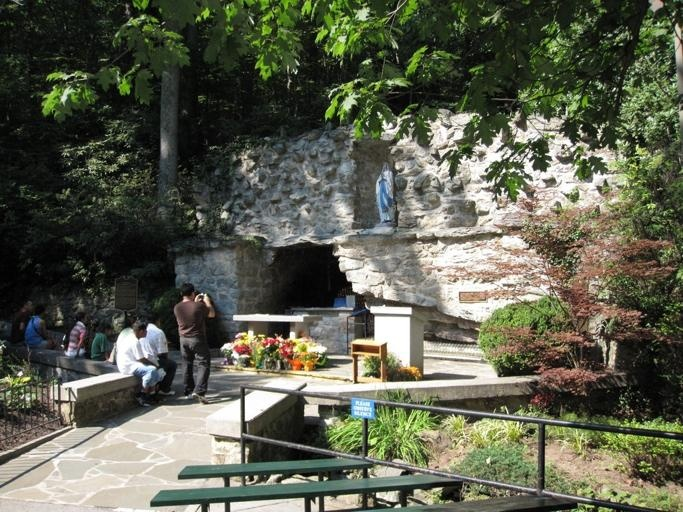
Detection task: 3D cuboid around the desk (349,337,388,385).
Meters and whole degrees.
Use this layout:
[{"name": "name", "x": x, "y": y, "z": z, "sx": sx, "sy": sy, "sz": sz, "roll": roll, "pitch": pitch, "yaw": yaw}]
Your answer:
[{"name": "desk", "x": 0.466, "y": 1.740, "z": 10.315, "sx": 0.797, "sy": 0.870, "sz": 0.364, "roll": -4, "pitch": -10, "yaw": 27}]

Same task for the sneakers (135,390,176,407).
[{"name": "sneakers", "x": -3.001, "y": 2.276, "z": 10.104, "sx": 0.533, "sy": 0.229, "sz": 0.168, "roll": -3, "pitch": 6, "yaw": -40}]

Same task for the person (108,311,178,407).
[{"name": "person", "x": -3.167, "y": 1.698, "z": 10.013, "sx": 0.771, "sy": 1.342, "sz": 0.549, "roll": -1, "pitch": -3, "yaw": -24}]

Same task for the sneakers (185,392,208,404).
[{"name": "sneakers", "x": -2.317, "y": 2.260, "z": 9.974, "sx": 0.282, "sy": 0.091, "sz": 0.122, "roll": 15, "pitch": 26, "yaw": 24}]

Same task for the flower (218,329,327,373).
[{"name": "flower", "x": -1.398, "y": 1.938, "z": 12.747, "sx": 2.268, "sy": 0.693, "sz": 0.626, "roll": -4, "pitch": -4, "yaw": 33}]

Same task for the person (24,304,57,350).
[{"name": "person", "x": -6.601, "y": 1.546, "z": 13.693, "sx": 0.562, "sy": 0.937, "sz": 0.863, "roll": 0, "pitch": -3, "yaw": -29}]
